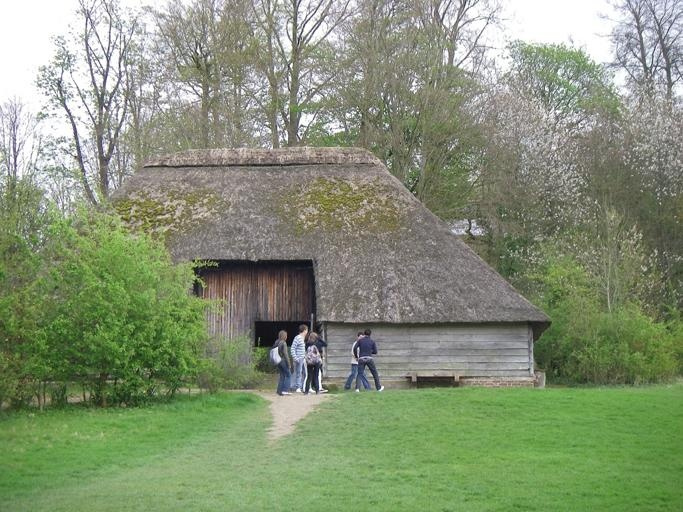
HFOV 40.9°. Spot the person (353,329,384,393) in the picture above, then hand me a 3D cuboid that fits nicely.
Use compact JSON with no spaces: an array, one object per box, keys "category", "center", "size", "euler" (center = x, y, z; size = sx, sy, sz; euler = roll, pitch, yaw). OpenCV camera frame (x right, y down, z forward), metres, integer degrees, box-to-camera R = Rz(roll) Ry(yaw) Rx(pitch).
[{"category":"person","center":[0.912,3.867,32.937],"size":[0.879,2.158,1.297],"euler":[0,14,1]}]

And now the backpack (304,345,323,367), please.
[{"category":"backpack","center":[-1.028,3.617,32.813],"size":[0.579,0.887,0.273],"euler":[-5,14,-19]}]
